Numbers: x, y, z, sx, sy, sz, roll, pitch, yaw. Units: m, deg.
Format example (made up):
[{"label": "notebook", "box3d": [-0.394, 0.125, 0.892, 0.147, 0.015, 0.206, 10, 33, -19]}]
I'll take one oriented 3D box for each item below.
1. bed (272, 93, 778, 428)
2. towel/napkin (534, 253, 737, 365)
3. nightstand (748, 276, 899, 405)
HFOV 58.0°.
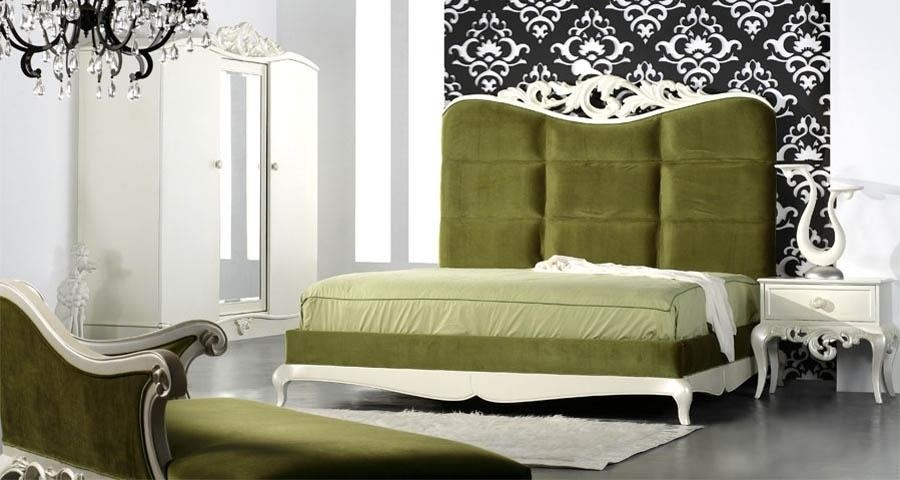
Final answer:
[{"label": "bed", "box3d": [1.042, 0.182, 6.696, 3.086, 2.449, 3.039, -1, -4, 29]}, {"label": "towel/napkin", "box3d": [1.485, 0.553, 6.336, 1.413, 0.671, 0.604, 4, 7, 31]}, {"label": "nightstand", "box3d": [2.979, 0.689, 6.650, 1.229, 1.120, 0.934, -2, -4, 23]}]
